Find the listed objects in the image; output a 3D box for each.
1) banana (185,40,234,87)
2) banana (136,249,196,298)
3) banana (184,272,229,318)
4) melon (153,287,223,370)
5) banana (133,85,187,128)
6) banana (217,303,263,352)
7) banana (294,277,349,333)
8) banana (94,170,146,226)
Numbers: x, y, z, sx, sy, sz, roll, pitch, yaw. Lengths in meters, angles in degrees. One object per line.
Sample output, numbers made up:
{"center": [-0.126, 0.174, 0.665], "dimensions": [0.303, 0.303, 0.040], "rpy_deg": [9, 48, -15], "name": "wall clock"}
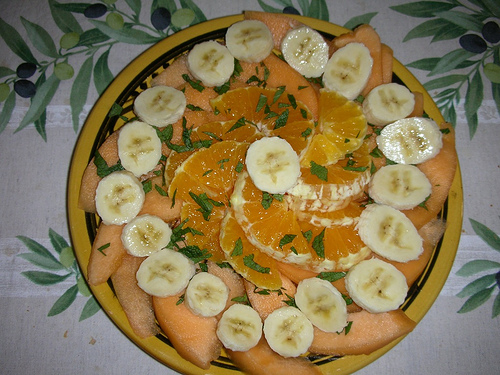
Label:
{"center": [-0.207, -0.634, 2.642], "dimensions": [0.220, 0.054, 0.231], "rpy_deg": [6, 89, -2], "name": "banana"}
{"center": [-0.428, 0.425, 2.591], "dimensions": [0.264, 0.037, 0.214], "rpy_deg": [-29, 78, -6], "name": "banana"}
{"center": [-0.214, 0.538, 2.639], "dimensions": [0.196, 0.055, 0.207], "rpy_deg": [-4, 80, -4], "name": "banana"}
{"center": [-0.306, 0.718, 2.604], "dimensions": [0.296, 0.101, 0.423], "rpy_deg": [-11, 78, -19], "name": "melon"}
{"center": [-0.451, -0.411, 2.626], "dimensions": [0.256, 0.072, 0.190], "rpy_deg": [-19, 78, -4], "name": "banana"}
{"center": [-0.051, 0.697, 2.600], "dimensions": [0.214, 0.054, 0.225], "rpy_deg": [22, 78, 5], "name": "banana"}
{"center": [0.360, 0.585, 2.597], "dimensions": [0.196, 0.089, 0.309], "rpy_deg": [-39, 80, -8], "name": "banana"}
{"center": [-0.651, 0.054, 2.589], "dimensions": [0.233, 0.063, 0.264], "rpy_deg": [0, 87, -7], "name": "banana"}
